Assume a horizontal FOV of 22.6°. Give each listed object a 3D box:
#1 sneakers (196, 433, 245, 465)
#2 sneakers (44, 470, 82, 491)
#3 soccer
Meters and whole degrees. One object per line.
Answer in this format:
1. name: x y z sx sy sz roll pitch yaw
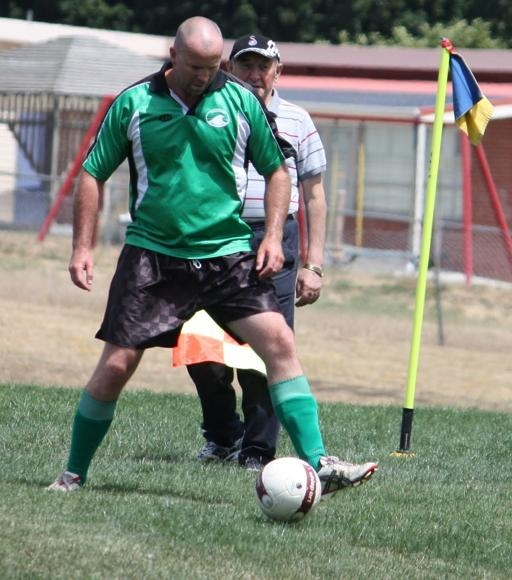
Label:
1. sneakers: -0.172 0.809 6.392 0.088 0.133 0.250 0 -5 38
2. sneakers: -0.806 0.817 5.504 0.067 0.062 0.123 -6 -10 43
3. soccer: 0.125 0.825 5.296 0.204 0.250 0.229 14 -9 -26
